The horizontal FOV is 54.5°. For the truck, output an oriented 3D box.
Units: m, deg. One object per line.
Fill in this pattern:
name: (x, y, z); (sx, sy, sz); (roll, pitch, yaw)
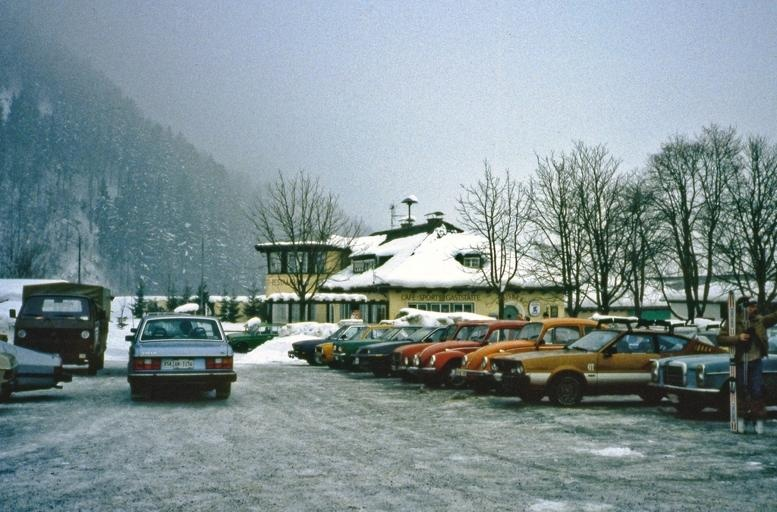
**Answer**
truck: (-10.980, 2.264, 25.140); (3.057, 3.059, 5.008); (2, -7, -13)

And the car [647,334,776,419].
car: (7.141, 2.785, 16.749); (2.457, 0.983, 1.452); (1, -6, -7)

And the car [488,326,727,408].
car: (5.227, 2.767, 18.960); (4.762, 1.460, 2.281); (2, -7, -13)

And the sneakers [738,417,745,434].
sneakers: (7.031, 3.410, 15.137); (0.251, 0.295, 0.108); (9, -10, -43)
